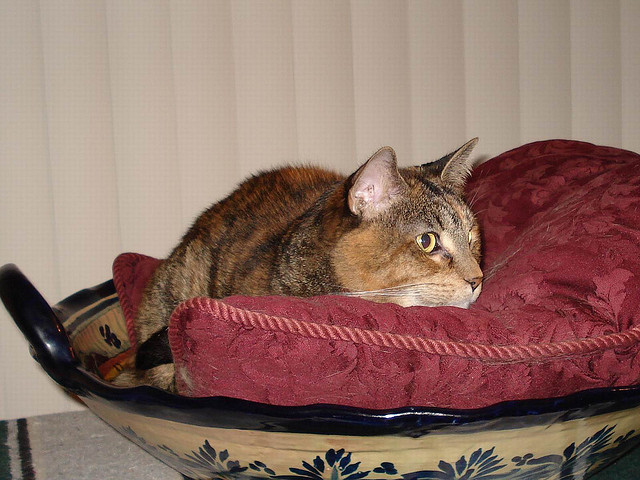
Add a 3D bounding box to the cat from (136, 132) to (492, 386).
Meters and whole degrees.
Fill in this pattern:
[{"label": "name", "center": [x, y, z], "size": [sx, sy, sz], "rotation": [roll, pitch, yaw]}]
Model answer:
[{"label": "cat", "center": [-0.057, -0.034, 2.171], "size": [0.893, 0.682, 0.645], "rotation": [13, 10, 32]}]
